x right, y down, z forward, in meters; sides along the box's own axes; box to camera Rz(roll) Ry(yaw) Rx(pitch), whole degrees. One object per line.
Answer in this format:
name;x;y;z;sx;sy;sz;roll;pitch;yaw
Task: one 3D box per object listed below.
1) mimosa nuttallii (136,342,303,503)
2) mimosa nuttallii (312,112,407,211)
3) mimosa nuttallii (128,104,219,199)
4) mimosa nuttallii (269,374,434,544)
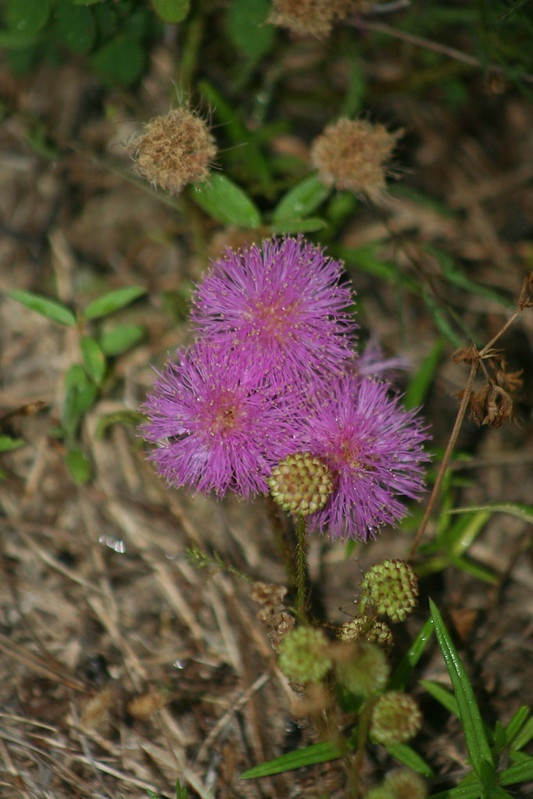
mimosa nuttallii;-0.134;0.074;2.406;0.432;0.283;0.400;20;76;7
mimosa nuttallii;0.267;-0.732;2.657;0.237;0.375;0.251;12;77;5
mimosa nuttallii;-0.321;-0.691;2.377;0.124;0.184;0.194;-38;49;-19
mimosa nuttallii;0.255;0.162;2.439;0.487;0.242;0.449;2;89;-12
